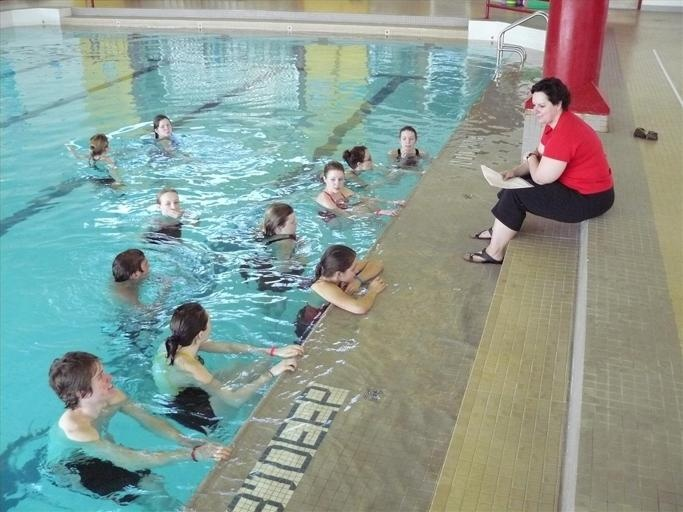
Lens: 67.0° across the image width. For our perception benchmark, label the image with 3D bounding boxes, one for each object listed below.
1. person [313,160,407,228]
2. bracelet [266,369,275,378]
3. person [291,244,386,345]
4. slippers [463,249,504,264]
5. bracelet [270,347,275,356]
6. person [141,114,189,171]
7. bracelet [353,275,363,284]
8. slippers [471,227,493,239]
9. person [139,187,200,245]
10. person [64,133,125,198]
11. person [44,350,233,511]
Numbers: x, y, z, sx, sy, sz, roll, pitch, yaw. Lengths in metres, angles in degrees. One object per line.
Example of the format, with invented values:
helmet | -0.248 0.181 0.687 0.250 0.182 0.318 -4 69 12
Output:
person | 0.037 -0.686 5.313 1.309 0.656 0.437 -1 40 8
bracelet | -0.445 0.726 3.233 0.054 0.054 0.023 22 50 15
person | -0.036 0.285 3.767 0.680 0.747 0.595 -2 30 0
slippers | 1.064 -0.006 3.892 0.265 0.066 0.102 7 25 17
bracelet | -0.472 0.648 3.534 0.018 0.045 0.057 6 -10 -19
person | -2.312 -1.519 6.706 0.508 0.488 1.298 -11 26 -18
bracelet | 0.117 0.166 3.780 0.026 0.018 0.072 -29 44 -17
slippers | 1.122 -0.179 4.138 0.158 0.028 0.072 10 22 43
person | -1.700 -0.419 5.106 0.487 0.390 0.686 -3 26 -3
person | -2.985 -1.069 6.259 0.846 0.820 0.794 -12 31 -30
person | -1.284 0.958 2.908 0.817 0.743 0.533 13 33 25
